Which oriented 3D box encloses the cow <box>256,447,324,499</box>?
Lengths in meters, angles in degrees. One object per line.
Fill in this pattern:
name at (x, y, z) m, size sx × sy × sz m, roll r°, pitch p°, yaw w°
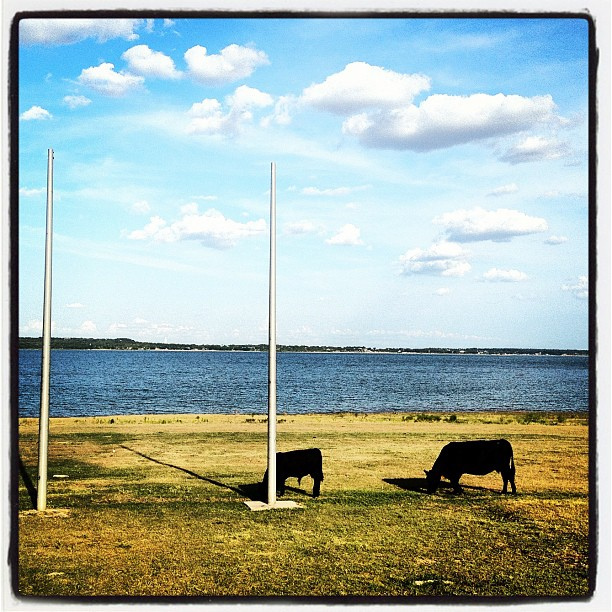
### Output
cow at (-0.396, 4.521, 28.194) m, size 1.921 × 1.196 × 0.532 m, roll -3°, pitch -3°, yaw 2°
